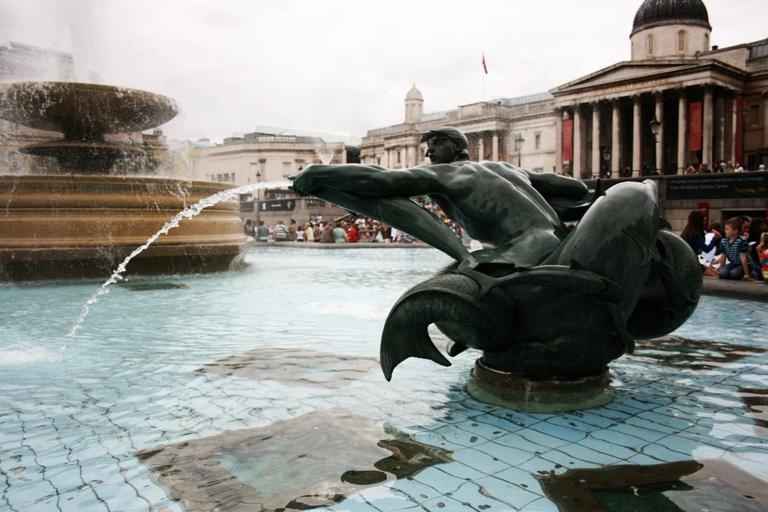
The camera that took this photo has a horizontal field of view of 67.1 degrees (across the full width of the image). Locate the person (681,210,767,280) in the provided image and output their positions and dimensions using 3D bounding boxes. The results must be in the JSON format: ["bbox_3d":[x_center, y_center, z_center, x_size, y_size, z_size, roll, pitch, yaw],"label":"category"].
[{"bbox_3d":[4.885,-0.192,8.561,0.931,0.895,2.108,4,12,23],"label":"person"}]

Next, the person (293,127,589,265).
[{"bbox_3d":[0.396,-0.462,3.699,1.582,0.548,0.982,-17,19,-26],"label":"person"}]
